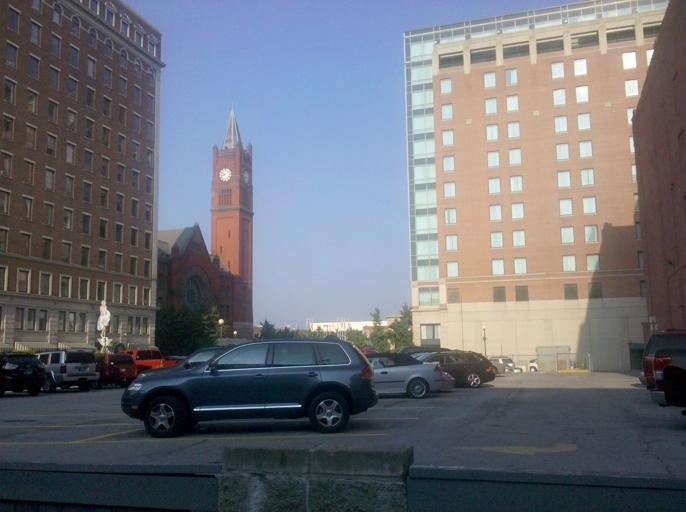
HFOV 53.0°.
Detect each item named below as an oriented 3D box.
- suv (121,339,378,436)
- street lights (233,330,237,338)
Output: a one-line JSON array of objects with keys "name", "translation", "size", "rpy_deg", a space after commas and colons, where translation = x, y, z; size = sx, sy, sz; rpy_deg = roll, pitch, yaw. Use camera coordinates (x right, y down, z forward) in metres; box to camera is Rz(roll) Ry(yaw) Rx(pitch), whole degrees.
[{"name": "suv", "translation": [-2.333, 3.359, 17.709], "size": [5.677, 2.188, 2.675], "rpy_deg": [1, -10, 0]}, {"name": "street lights", "translation": [-16.768, 11.972, 105.586], "size": [0.628, 1.031, 0.639], "rpy_deg": [-7, 9, -13]}]
